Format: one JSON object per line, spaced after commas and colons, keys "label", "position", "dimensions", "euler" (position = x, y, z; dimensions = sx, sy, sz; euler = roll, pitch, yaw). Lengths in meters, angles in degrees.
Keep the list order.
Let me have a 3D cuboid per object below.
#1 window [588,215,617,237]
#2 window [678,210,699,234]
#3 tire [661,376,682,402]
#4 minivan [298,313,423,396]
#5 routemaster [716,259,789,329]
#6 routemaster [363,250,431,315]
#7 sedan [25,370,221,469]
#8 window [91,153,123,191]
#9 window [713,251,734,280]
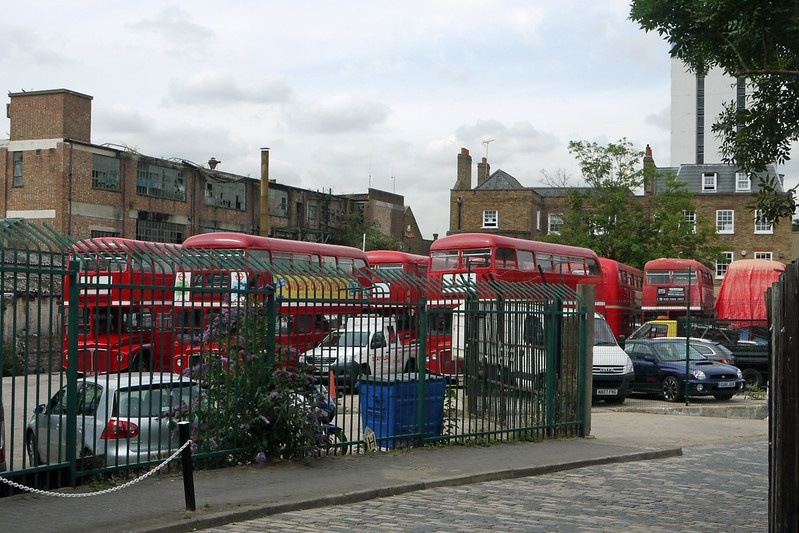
{"label": "window", "position": [11.137, -2.322, 65.772], "dimensions": [1.277, 1.372, 1.131], "euler": [0, -13, -13]}
{"label": "window", "position": [16.439, -2.581, 68.162], "dimensions": [0.260, 1.620, 1.612], "euler": [-4, -3, 31]}
{"label": "tire", "position": [8.236, 3.639, 36.059], "dimensions": [0.243, 0.742, 0.712], "euler": [8, -1, -37]}
{"label": "minivan", "position": [-0.694, 1.702, 24.873], "dimensions": [1.222, 1.055, 2.485], "euler": [-1, -4, 33]}
{"label": "routemaster", "position": [11.377, 0.880, 38.758], "dimensions": [1.963, 2.176, 2.438], "euler": [-1, 0, 20]}
{"label": "routemaster", "position": [-0.134, 0.261, 26.668], "dimensions": [1.386, 1.623, 3.214], "euler": [0, -2, 12]}
{"label": "sedan", "position": [-5.249, 2.826, 22.634], "dimensions": [3.023, 1.430, 1.904], "euler": [1, 0, 39]}
{"label": "window", "position": [-15.132, -4.880, 62.177], "dimensions": [0.432, 1.801, 2.414], "euler": [-5, -6, 17]}
{"label": "window", "position": [17.984, -0.145, 66.409], "dimensions": [0.132, 2.636, 1.727], "euler": [2, -3, -25]}
